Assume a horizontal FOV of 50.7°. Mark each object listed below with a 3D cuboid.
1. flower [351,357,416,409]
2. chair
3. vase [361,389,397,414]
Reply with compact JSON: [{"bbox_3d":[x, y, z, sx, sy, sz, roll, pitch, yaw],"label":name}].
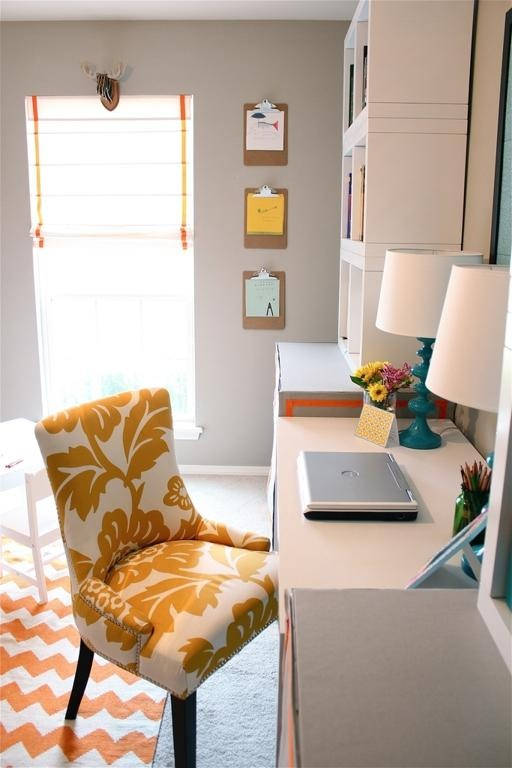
[{"bbox_3d":[0.412,-0.020,1.748,0.142,0.178,0.158,-6,1,-7],"label":"flower"},{"bbox_3d":[-0.156,0.384,1.853,0.763,1.372,0.768,9,19,31],"label":"chair"},{"bbox_3d":[0.404,0.058,1.750,0.072,0.100,0.087,-2,21,1],"label":"vase"}]
